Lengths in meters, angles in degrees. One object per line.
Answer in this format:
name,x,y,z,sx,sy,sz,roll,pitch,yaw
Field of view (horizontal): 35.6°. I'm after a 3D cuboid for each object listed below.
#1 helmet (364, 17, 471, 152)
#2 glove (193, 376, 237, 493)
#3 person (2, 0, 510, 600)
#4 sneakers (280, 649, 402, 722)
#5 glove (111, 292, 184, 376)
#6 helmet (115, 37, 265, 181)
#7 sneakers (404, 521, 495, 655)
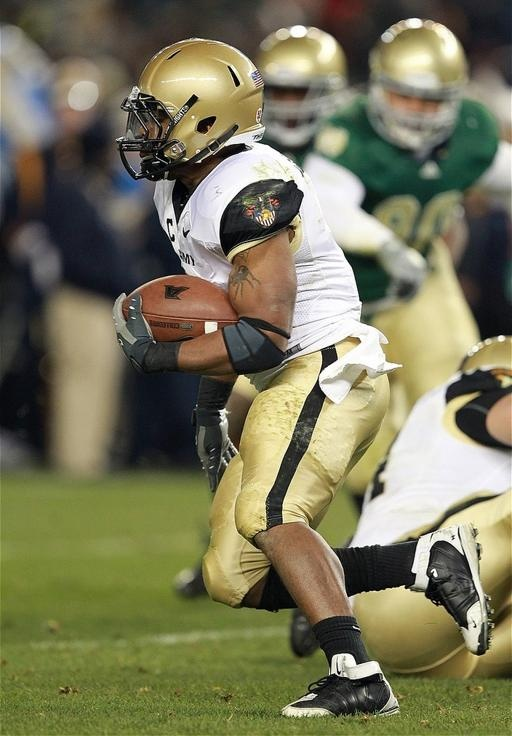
helmet,0.593,-1.267,3.534,0.488,0.486,0.568,5,40,1
glove,-0.095,0.162,1.879,0.090,0.274,0.087,3,15,5
person,0.049,-0.150,1.565,0.332,0.946,0.679,-15,23,-9
sneakers,0.152,0.544,1.347,0.252,0.083,0.102,2,77,-5
glove,-0.223,-0.049,1.490,0.077,0.125,0.152,-31,68,16
helmet,-0.117,-0.546,1.706,0.383,0.277,0.267,0,13,0
sneakers,0.365,0.396,1.536,0.169,0.106,0.273,-12,73,-8
